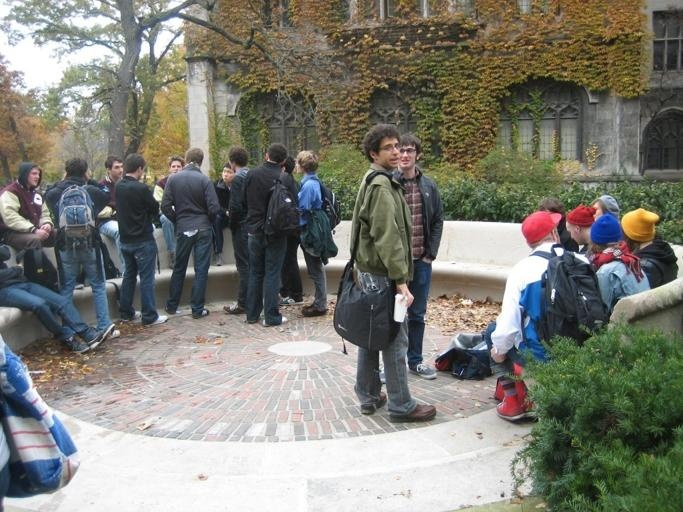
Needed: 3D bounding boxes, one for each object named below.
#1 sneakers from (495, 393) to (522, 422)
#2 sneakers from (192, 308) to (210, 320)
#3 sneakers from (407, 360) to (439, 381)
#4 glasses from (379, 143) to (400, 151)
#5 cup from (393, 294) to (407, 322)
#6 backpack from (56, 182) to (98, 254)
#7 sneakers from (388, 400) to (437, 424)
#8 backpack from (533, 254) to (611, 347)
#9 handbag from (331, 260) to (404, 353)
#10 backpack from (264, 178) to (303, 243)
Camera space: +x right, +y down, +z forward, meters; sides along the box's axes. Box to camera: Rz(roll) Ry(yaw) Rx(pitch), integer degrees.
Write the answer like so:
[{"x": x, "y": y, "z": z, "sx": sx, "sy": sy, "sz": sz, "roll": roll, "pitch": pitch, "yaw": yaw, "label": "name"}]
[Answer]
[{"x": 1.545, "y": 1.397, "z": 6.410, "sx": 0.126, "sy": 0.295, "sz": 0.285, "roll": 0, "pitch": 5, "yaw": -18, "label": "sneakers"}, {"x": -2.096, "y": 0.857, "z": 10.404, "sx": 0.090, "sy": 0.126, "sz": 0.279, "roll": 6, "pitch": 9, "yaw": 28, "label": "sneakers"}, {"x": 0.888, "y": 1.248, "z": 7.617, "sx": 0.284, "sy": 0.113, "sz": 0.145, "roll": 3, "pitch": 9, "yaw": 41, "label": "sneakers"}, {"x": 0.447, "y": -1.014, "z": 6.518, "sx": 0.178, "sy": 0.068, "sz": 0.062, "roll": -4, "pitch": 7, "yaw": -26, "label": "glasses"}, {"x": 0.528, "y": 0.470, "z": 6.368, "sx": 0.121, "sy": 0.281, "sz": 0.112, "roll": -1, "pitch": 6, "yaw": 0, "label": "cup"}, {"x": -3.481, "y": -0.508, "z": 9.171, "sx": 0.481, "sy": 0.815, "sz": 0.386, "roll": -3, "pitch": 7, "yaw": -22, "label": "backpack"}, {"x": 0.690, "y": 1.480, "z": 6.601, "sx": 0.363, "sy": 0.171, "sz": 0.185, "roll": -4, "pitch": 1, "yaw": 0, "label": "sneakers"}, {"x": 1.996, "y": 0.363, "z": 6.082, "sx": 0.583, "sy": 0.768, "sz": 0.358, "roll": 1, "pitch": 7, "yaw": 17, "label": "backpack"}, {"x": 0.208, "y": 0.449, "z": 6.479, "sx": 0.636, "sy": 0.792, "sz": 0.256, "roll": 3, "pitch": 7, "yaw": 29, "label": "handbag"}, {"x": -0.830, "y": -0.662, "z": 9.495, "sx": 0.466, "sy": 0.806, "sz": 0.359, "roll": -2, "pitch": 6, "yaw": -8, "label": "backpack"}]
